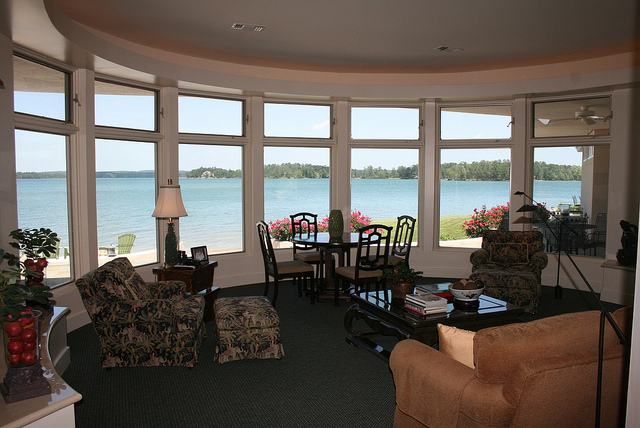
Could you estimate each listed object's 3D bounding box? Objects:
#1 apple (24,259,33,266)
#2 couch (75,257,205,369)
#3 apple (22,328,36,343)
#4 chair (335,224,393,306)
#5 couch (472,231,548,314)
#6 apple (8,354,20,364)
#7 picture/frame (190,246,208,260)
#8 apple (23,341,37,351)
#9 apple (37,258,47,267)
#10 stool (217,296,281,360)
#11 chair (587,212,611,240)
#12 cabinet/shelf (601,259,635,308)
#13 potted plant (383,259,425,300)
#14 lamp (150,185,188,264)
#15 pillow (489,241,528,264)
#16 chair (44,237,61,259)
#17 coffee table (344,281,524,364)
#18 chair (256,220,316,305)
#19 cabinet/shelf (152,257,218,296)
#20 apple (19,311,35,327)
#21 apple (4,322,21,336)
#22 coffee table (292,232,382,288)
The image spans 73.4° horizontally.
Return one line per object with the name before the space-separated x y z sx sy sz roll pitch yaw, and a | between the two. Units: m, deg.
apple | -2.704 0.449 4.009 0.063 0.036 0.062 11 14 17
couch | -1.893 1.064 4.830 1.318 0.974 1.085 0 10 -30
apple | -1.915 0.800 2.844 0.077 0.093 0.032 -1 13 -6
chair | 0.631 0.773 6.404 0.713 1.252 0.740 -1 4 -15
couch | 2.863 0.808 6.551 1.095 1.072 1.300 0 2 15
apple | -1.982 0.939 2.807 0.054 0.063 0.036 2 -20 -1
picture/frame | -1.620 0.525 5.801 0.161 0.154 0.054 12 -21 -36
apple | -1.911 0.867 2.852 0.052 0.059 0.051 12 -5 -9
apple | -2.642 0.464 4.137 0.087 0.066 0.068 6 8 23
stool | -0.818 1.253 4.828 0.595 0.347 0.720 -1 8 -10
chair | 4.706 0.208 7.269 0.221 0.467 0.124 8 15 31
cabinet/shelf | 4.541 1.038 6.572 0.310 0.629 0.468 -9 16 -37
potted plant | 0.962 0.733 4.899 0.404 0.351 0.407 -1 1 20
lamp | -1.978 0.080 5.656 0.420 1.073 0.615 -8 15 -34
pillow | 2.985 0.612 6.765 0.517 0.338 0.123 -1 -2 18
chair | -3.334 0.467 5.416 0.157 0.216 0.274 -7 14 -29
coffee table | 1.212 1.075 4.486 1.144 0.456 1.101 0 2 -18
chair | -0.514 0.744 6.552 0.847 1.112 0.716 2 0 -28
cabinet/shelf | -1.744 0.853 5.746 0.525 0.375 0.788 -1 2 9
apple | -1.915 0.683 2.815 0.079 0.103 0.103 22 -48 -17
apple | -1.994 0.747 2.808 0.092 0.105 0.031 -2 13 -11
coffee table | 0.097 0.588 6.746 0.961 0.622 0.930 -1 3 -11
